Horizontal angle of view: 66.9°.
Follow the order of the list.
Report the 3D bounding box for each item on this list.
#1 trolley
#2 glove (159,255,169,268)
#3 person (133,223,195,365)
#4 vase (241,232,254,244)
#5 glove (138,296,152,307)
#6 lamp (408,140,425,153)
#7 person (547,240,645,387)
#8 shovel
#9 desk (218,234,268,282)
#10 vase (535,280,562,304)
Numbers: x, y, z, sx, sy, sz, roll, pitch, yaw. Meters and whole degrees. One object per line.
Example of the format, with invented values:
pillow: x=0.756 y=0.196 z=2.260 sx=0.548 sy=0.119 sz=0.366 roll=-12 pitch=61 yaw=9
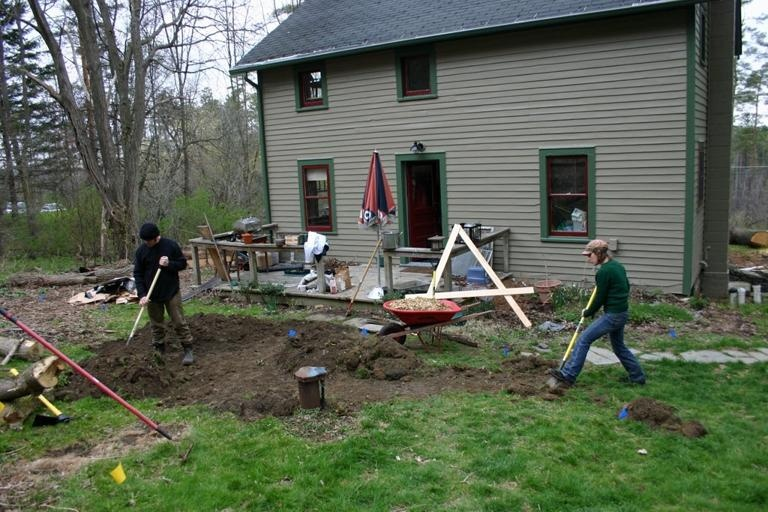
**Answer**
trolley: x=1.103 y=1.224 z=10.879 sx=2.339 sy=0.806 sz=0.914 roll=-1 pitch=7 yaw=-14
glove: x=-3.986 y=0.089 z=10.550 sx=0.159 sy=0.181 sz=0.141 roll=-5 pitch=10 yaw=-19
person: x=-4.058 y=0.624 z=10.862 sx=0.981 sy=2.386 sz=1.370 roll=0 pitch=1 yaw=14
vase: x=-3.626 y=-0.493 z=15.318 sx=0.308 sy=0.296 sz=0.304 roll=-2 pitch=-4 yaw=21
glove: x=-4.211 y=0.794 z=10.296 sx=0.149 sy=0.060 sz=0.193 roll=-9 pitch=40 yaw=46
lamp: x=0.854 y=-2.849 z=15.118 sx=0.404 sy=0.313 sz=0.208 roll=0 pitch=9 yaw=10
person: x=3.625 y=0.913 z=9.912 sx=1.567 sy=2.381 sz=1.036 roll=0 pitch=1 yaw=17
shovel: x=3.175 y=1.394 z=9.729 sx=0.877 sy=1.849 sz=0.916 roll=2 pitch=-9 yaw=-7
desk: x=-4.028 y=-0.015 z=16.055 sx=1.713 sy=1.630 sz=1.230 roll=-1 pitch=3 yaw=4
vase: x=3.680 y=0.752 z=13.197 sx=0.617 sy=0.419 sz=0.605 roll=-2 pitch=3 yaw=4
